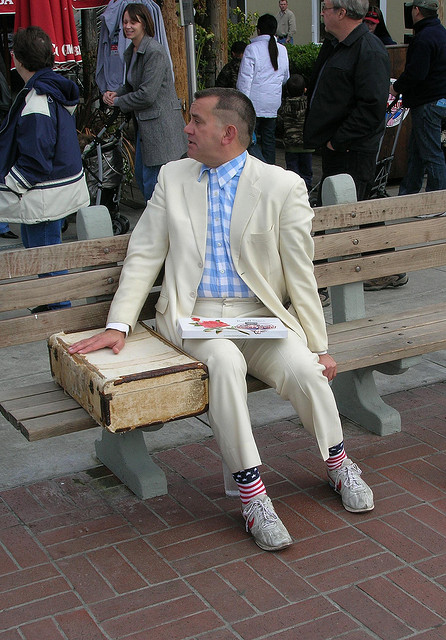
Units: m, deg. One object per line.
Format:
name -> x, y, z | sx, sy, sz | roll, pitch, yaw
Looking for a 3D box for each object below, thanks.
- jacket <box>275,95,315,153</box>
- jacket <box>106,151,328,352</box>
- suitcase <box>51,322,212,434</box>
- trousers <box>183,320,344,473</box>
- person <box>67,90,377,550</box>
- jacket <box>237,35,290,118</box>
jacket -> 1.038, -2.652, 7.955 | 0.631, 1.323, 0.455 | -4, 27, 2
jacket -> -0.013, -0.265, 2.282 | 0.931, 0.782, 0.521 | 2, 28, 8
suitcase -> -0.320, 0.200, 2.003 | 0.426, 0.262, 0.536 | -7, 11, -30
trousers -> 0.122, 0.228, 2.153 | 0.705, 0.497, 0.524 | -3, 29, -27
person -> 0.019, -0.068, 2.141 | 0.855, 1.614, 0.719 | 3, 11, 25
jacket -> 0.595, -3.533, 8.068 | 0.884, 1.110, 0.369 | -11, 14, -42
